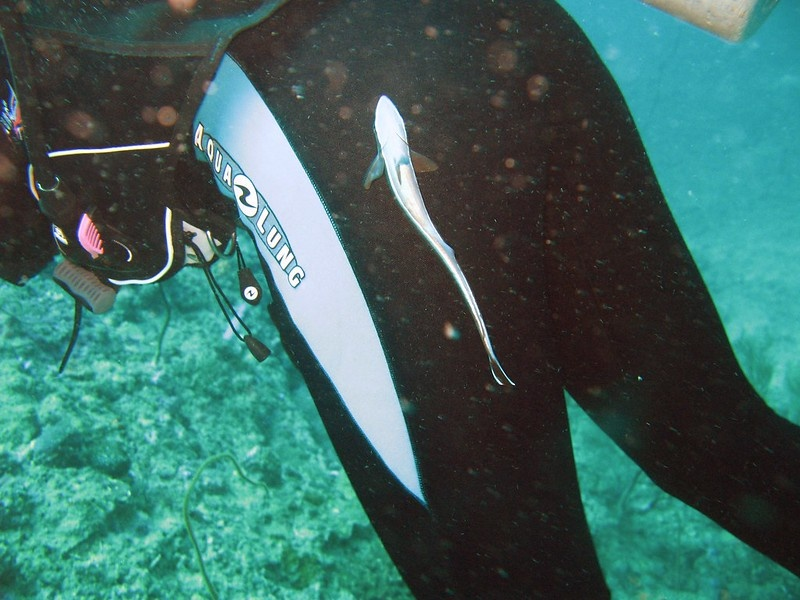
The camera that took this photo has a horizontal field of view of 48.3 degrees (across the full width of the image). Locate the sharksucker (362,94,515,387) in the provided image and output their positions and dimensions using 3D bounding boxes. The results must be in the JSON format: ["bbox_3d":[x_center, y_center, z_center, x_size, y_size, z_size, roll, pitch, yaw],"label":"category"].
[{"bbox_3d":[0.171,-0.058,3.747,0.344,0.218,1.639,-14,101,-5],"label":"sharksucker"}]
